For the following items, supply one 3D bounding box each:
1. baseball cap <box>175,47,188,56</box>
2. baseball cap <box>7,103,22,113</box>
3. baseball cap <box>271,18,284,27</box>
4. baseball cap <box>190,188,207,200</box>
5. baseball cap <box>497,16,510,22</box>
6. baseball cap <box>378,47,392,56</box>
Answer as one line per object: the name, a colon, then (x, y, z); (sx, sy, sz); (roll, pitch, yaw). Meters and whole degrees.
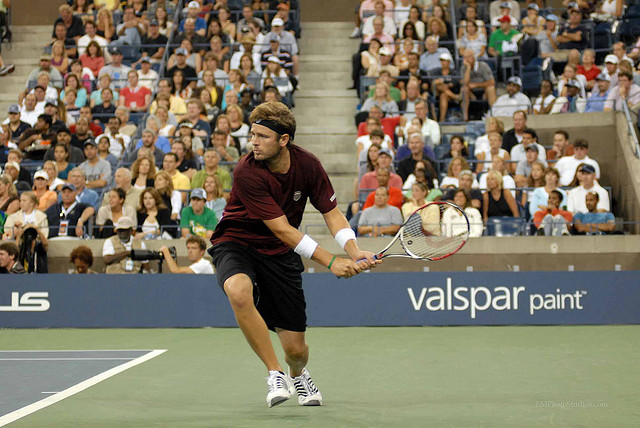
baseball cap: (-2.878, -3.350, 25.950); (0.258, 0.139, 0.429); (-2, 11, -5)
baseball cap: (-6.206, -2.125, 25.431); (0.280, 0.213, 0.407); (3, -21, -13)
baseball cap: (-0.887, -4.015, 26.349); (0.223, 0.155, 0.380); (-1, 11, -1)
baseball cap: (-2.116, -0.328, 21.798); (0.248, 0.231, 0.391); (-2, 11, -4)
baseball cap: (3.866, -4.079, 26.370); (0.192, 0.122, 0.493); (-1, 11, 1)
baseball cap: (1.314, -3.217, 25.011); (0.197, 0.088, 0.204); (7, 38, -9)
